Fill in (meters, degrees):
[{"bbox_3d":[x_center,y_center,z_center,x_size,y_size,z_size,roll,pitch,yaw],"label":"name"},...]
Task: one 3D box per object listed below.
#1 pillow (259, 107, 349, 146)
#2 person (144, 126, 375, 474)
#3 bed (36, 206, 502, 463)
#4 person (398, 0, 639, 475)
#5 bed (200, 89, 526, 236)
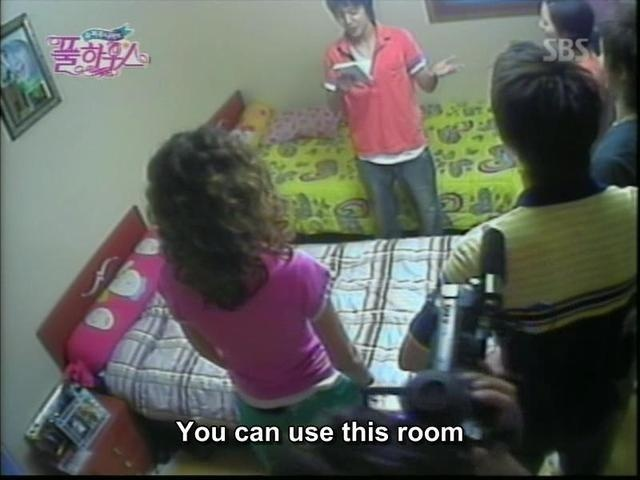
[{"bbox_3d":[-0.055,-0.340,1.525,0.176,0.089,0.053,-10,53,1],"label":"pillow"},{"bbox_3d":[-0.184,0.128,1.407,0.499,0.841,0.263,-15,25,1],"label":"person"},{"bbox_3d":[-0.168,0.309,1.595,1.076,0.484,0.650,4,61,10],"label":"bed"},{"bbox_3d":[0.672,0.089,1.430,0.384,1.175,0.493,-2,29,27],"label":"person"},{"bbox_3d":[0.178,-0.202,1.517,0.701,0.452,0.285,-10,-13,11],"label":"bed"}]
